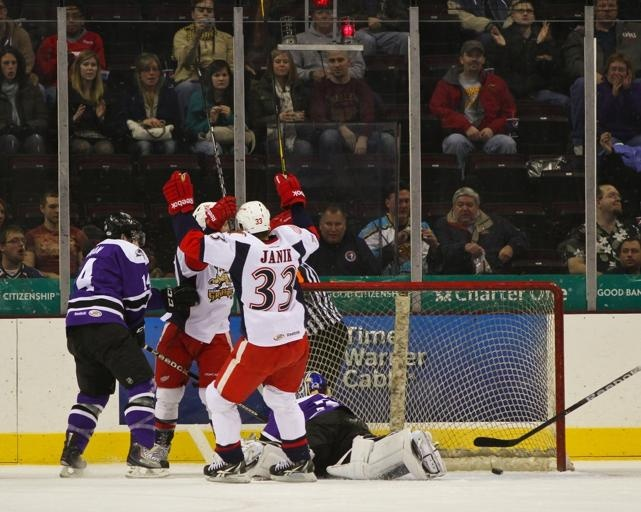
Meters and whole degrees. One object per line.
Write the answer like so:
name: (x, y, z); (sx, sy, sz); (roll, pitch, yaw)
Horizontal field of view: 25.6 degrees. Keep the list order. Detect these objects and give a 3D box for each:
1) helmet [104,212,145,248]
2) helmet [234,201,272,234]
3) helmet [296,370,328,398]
helmet: (-1.394, -0.184, 10.173); (0.296, 0.257, 0.240); (-1, 12, -22)
helmet: (-0.448, -0.277, 9.580); (0.194, 0.176, 0.233); (-4, 19, -10)
helmet: (-0.062, 0.913, 10.132); (0.168, 0.176, 0.212); (9, 4, -20)
